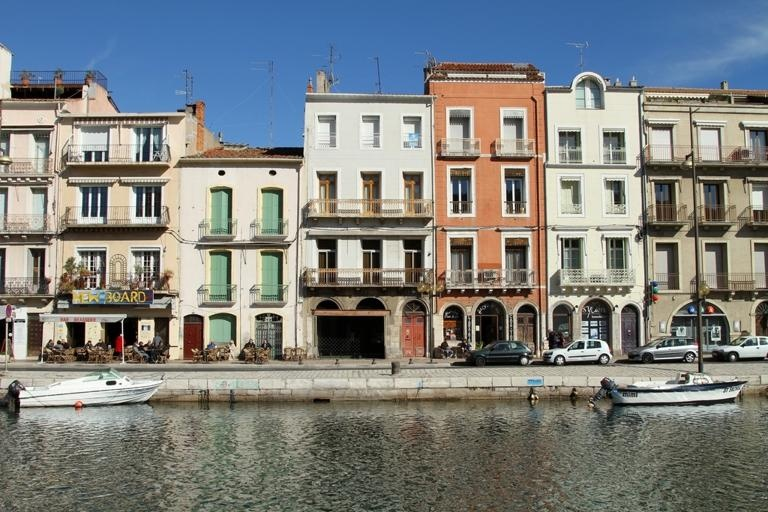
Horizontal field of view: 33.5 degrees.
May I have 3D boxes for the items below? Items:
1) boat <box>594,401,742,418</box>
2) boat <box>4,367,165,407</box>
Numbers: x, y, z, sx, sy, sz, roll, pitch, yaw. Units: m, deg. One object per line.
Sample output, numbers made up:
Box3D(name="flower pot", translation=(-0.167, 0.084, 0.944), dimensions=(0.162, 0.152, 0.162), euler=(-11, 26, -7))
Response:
Box3D(name="boat", translation=(18.052, 9.736, 81.274), dimensions=(9.230, 0.807, 2.698), euler=(-1, -3, 3))
Box3D(name="boat", translation=(-19.400, 8.859, 83.851), dimensions=(11.629, 3.202, 3.278), euler=(0, -6, -8))
